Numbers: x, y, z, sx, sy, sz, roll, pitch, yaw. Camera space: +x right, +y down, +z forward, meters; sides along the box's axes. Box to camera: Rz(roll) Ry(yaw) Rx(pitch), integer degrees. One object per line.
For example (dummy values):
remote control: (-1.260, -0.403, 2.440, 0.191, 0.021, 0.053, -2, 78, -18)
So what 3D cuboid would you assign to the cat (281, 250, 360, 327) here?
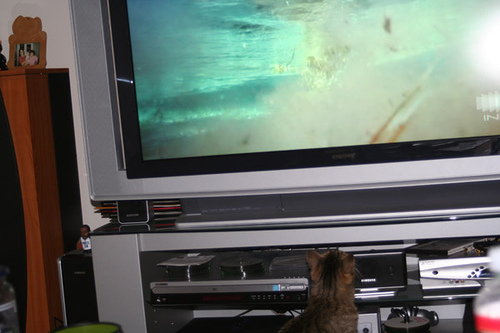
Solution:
cat: (0.297, 0.535, 2.194, 0.189, 0.500, 0.274, 4, -3, 42)

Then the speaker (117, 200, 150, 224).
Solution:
speaker: (-0.600, 0.219, 2.654, 0.216, 0.169, 0.113, 0, -1, 1)
